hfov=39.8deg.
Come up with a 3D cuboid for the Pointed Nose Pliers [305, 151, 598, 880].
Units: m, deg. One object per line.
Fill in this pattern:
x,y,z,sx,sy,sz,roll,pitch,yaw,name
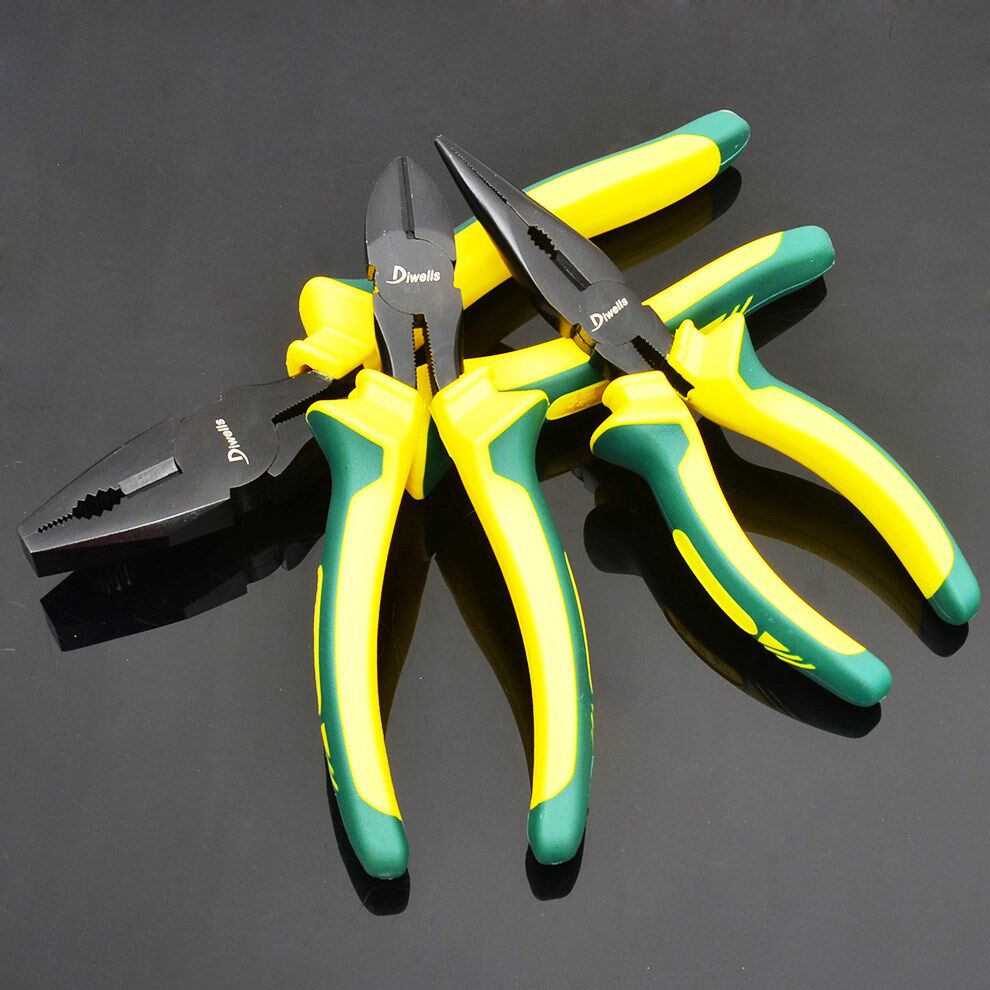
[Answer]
-0.046,0.032,1.127,0.199,0.073,0.697,-2,43,-6,Pointed Nose Pliers
